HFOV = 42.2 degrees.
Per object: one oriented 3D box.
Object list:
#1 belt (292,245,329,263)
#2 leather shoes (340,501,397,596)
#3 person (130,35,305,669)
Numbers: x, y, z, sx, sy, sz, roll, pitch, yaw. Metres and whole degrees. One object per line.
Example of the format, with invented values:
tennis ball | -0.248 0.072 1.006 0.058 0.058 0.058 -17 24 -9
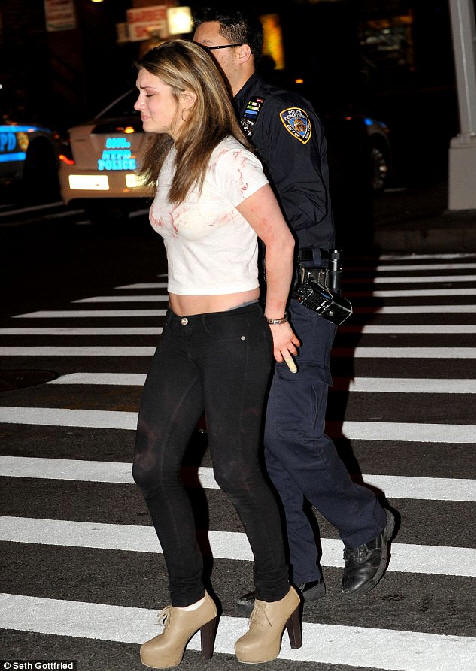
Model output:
belt | 0.257 -0.288 2.182 0.093 0.034 0.062 3 1 -1
leather shoes | 0.464 0.813 2.318 0.173 0.334 0.136 29 -18 -29
person | -0.085 0.093 1.746 0.525 1.794 0.315 -4 6 5
